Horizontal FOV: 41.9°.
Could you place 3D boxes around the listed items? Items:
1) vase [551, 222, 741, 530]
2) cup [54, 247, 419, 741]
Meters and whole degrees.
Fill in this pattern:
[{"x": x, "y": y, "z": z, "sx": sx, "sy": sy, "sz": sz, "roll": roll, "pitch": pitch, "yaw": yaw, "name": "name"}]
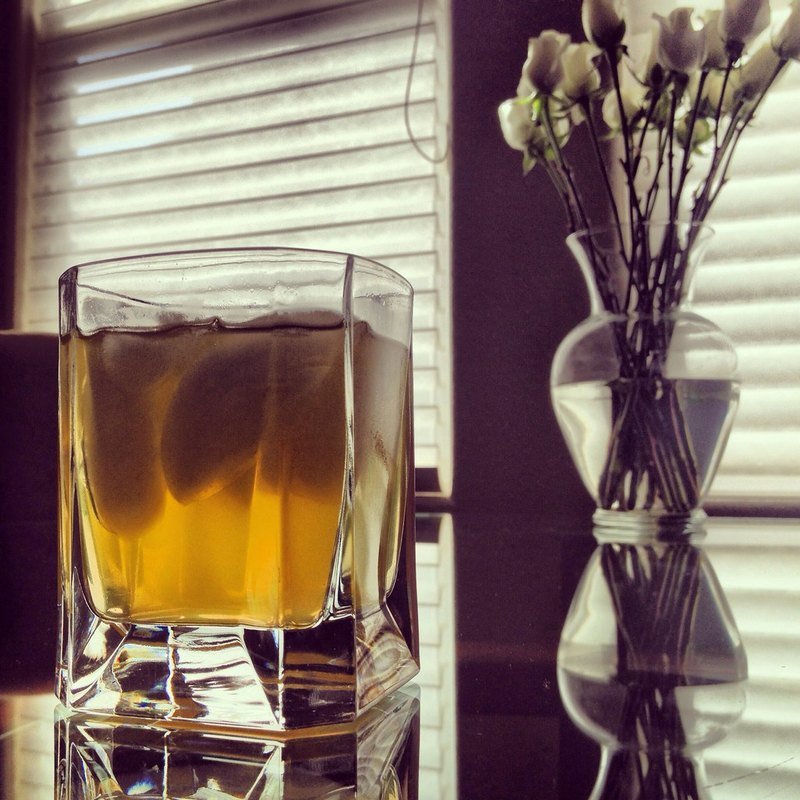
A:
[{"x": 0.191, "y": -0.016, "z": 0.833, "sx": 0.149, "sy": 0.245, "sz": 0.105, "roll": -1, "pitch": 1, "yaw": 17, "name": "vase"}, {"x": -0.077, "y": 0.048, "z": 0.478, "sx": 0.148, "sy": 0.212, "sz": 0.164, "roll": -4, "pitch": -9, "yaw": 27, "name": "cup"}]
